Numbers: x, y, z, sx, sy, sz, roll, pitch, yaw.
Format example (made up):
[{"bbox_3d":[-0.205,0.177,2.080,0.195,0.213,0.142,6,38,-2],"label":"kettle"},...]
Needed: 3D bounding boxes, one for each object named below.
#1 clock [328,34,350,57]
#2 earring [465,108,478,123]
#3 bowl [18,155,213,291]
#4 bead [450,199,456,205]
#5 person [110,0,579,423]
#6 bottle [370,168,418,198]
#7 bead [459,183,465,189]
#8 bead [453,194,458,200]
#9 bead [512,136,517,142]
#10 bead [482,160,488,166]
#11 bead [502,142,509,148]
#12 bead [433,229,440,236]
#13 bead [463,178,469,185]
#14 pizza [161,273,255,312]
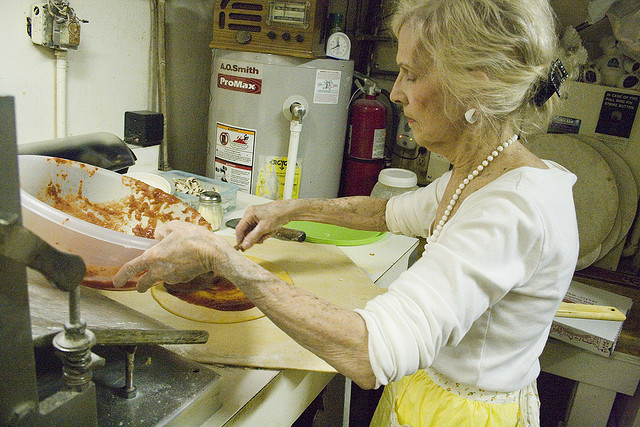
[{"bbox_3d":[0.089,-0.675,2.209,0.086,0.083,0.020,-1,12,-16],"label":"clock"},{"bbox_3d":[0.362,-0.233,1.304,0.032,0.036,0.019,1,17,-7],"label":"earring"},{"bbox_3d":[-0.643,0.033,1.551,0.547,0.339,0.431,7,17,14],"label":"bowl"},{"bbox_3d":[0.354,-0.030,1.464,0.017,0.014,0.012,12,19,27],"label":"bead"},{"bbox_3d":[0.190,0.045,1.509,0.936,1.204,0.923,12,19,27],"label":"person"},{"bbox_3d":[0.342,-0.125,2.502,0.175,0.157,0.171,12,26,21],"label":"bottle"},{"bbox_3d":[0.372,-0.070,1.436,0.006,0.017,0.015,-12,22,-39],"label":"bead"},{"bbox_3d":[0.360,-0.042,1.455,0.012,0.015,0.005,0,18,-9],"label":"bead"},{"bbox_3d":[0.495,-0.188,1.392,0.013,0.014,0.005,-6,20,-28],"label":"bead"},{"bbox_3d":[0.417,-0.125,1.384,0.012,0.012,0.007,-27,-10,0],"label":"bead"},{"bbox_3d":[0.464,-0.170,1.373,0.015,0.012,0.006,-6,19,-28],"label":"bead"},{"bbox_3d":[0.310,0.055,1.458,0.015,0.015,0.027,6,16,10],"label":"bead"},{"bbox_3d":[0.379,-0.081,1.421,0.017,0.018,0.006,13,20,29],"label":"bead"},{"bbox_3d":[-0.307,0.234,1.545,0.157,0.008,0.156,13,11,-1],"label":"pizza"}]
